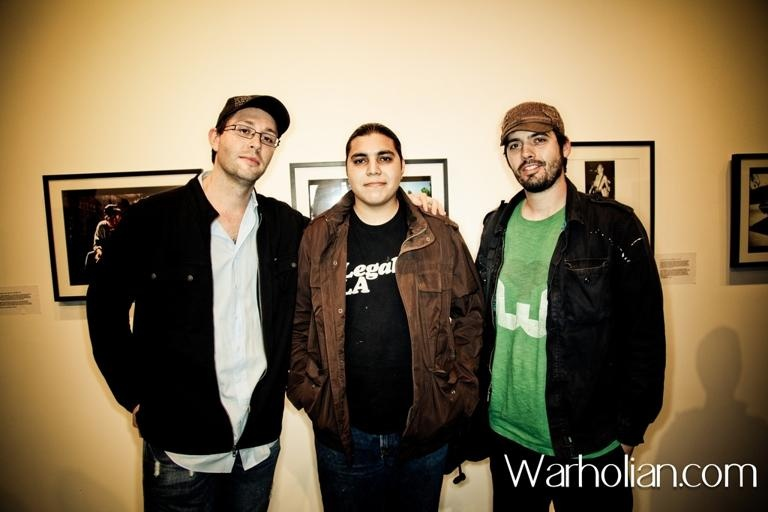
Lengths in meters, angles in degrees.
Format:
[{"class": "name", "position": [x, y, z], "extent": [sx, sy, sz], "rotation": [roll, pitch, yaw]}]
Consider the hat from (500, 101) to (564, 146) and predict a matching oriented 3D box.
[{"class": "hat", "position": [1.043, -0.976, 4.219], "extent": [0.418, 0.299, 0.593], "rotation": [-2, 4, 19]}]
